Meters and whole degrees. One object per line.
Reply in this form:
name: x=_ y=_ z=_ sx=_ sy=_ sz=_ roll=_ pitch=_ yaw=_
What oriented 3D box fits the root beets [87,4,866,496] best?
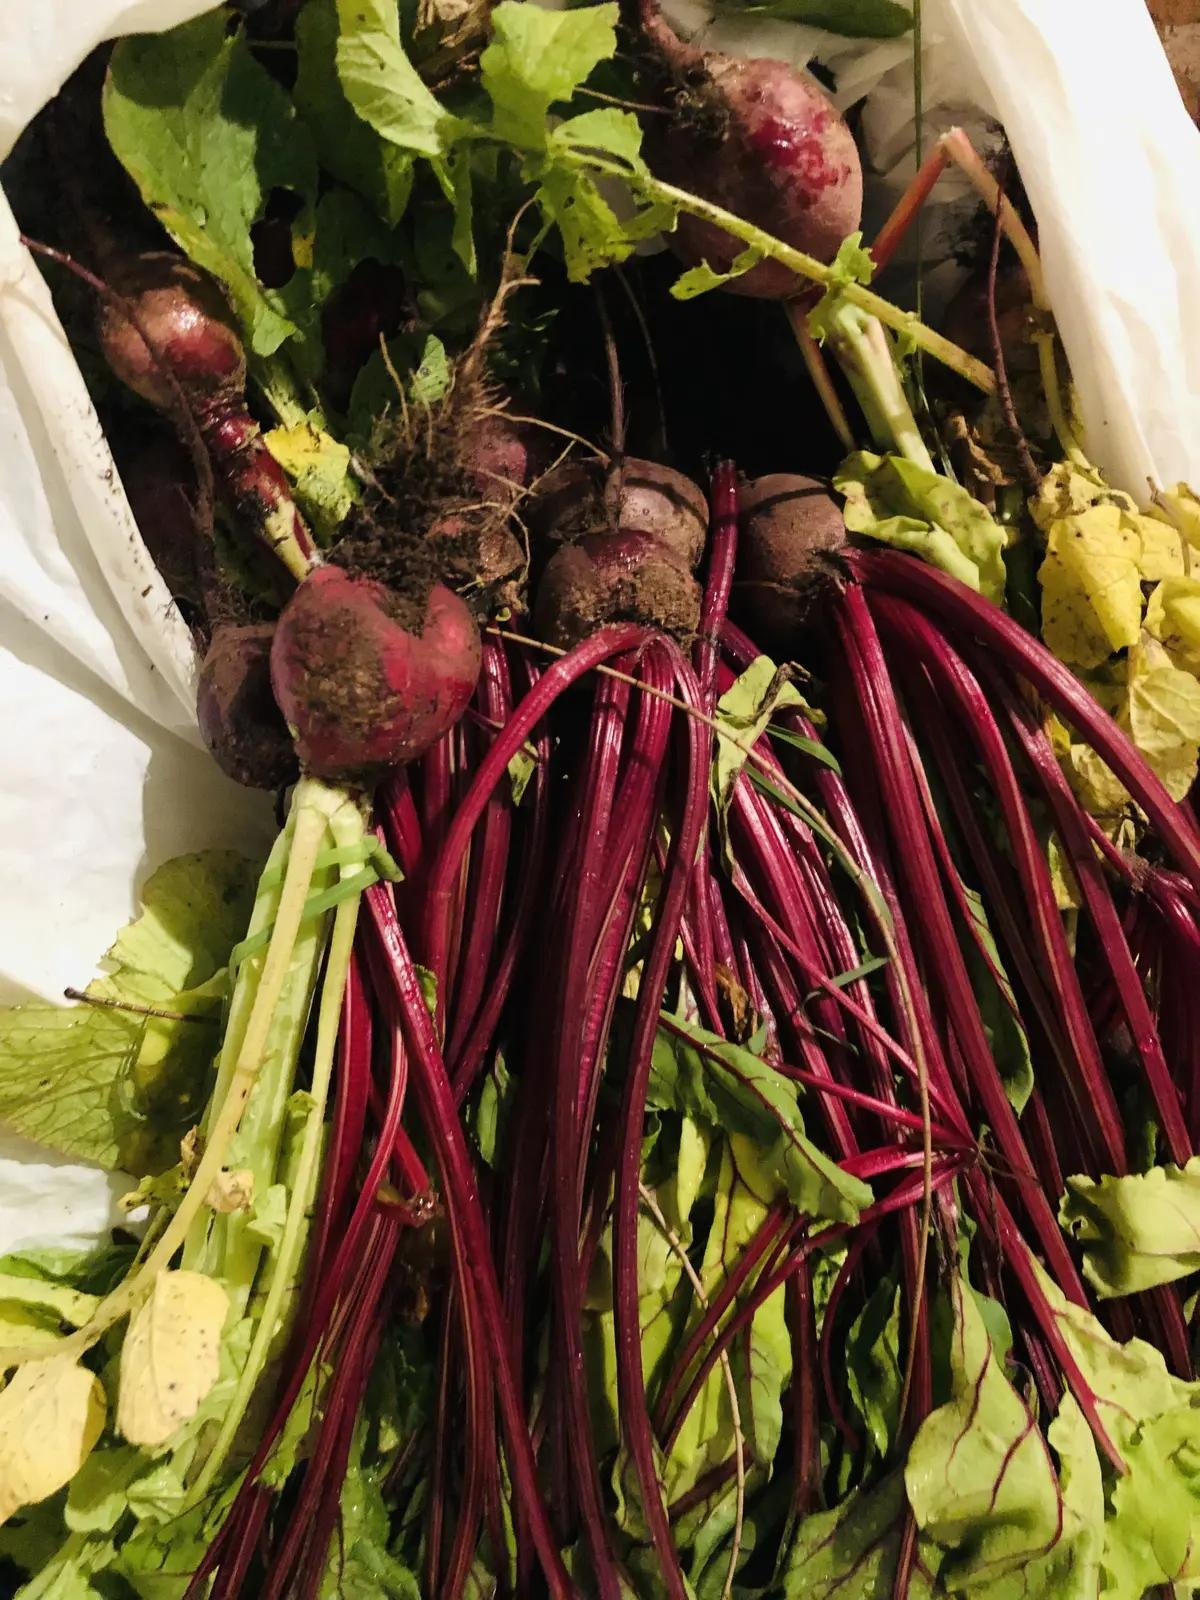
root beets: x=-0.059 y=-0.443 z=1.008 sx=0.438 sy=0.184 sz=0.306 roll=16 pitch=-30 yaw=-1

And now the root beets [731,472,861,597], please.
root beets: x=0.135 y=-0.192 z=1.045 sx=0.071 sy=0.092 sz=0.071 roll=-5 pitch=-23 yaw=-12

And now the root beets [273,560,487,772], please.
root beets: x=-0.135 y=-0.074 z=0.914 sx=0.130 sy=0.109 sz=0.077 roll=-56 pitch=-1 yaw=10

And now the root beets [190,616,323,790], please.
root beets: x=-0.233 y=-0.064 z=0.937 sx=0.038 sy=0.096 sz=0.080 roll=-16 pitch=-23 yaw=-48
